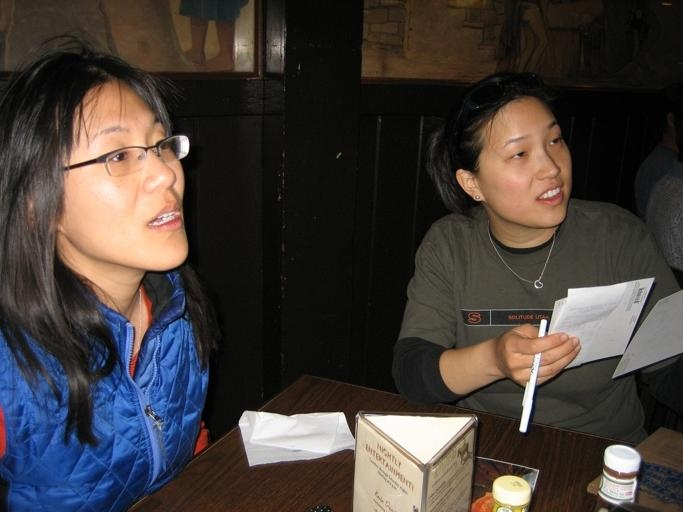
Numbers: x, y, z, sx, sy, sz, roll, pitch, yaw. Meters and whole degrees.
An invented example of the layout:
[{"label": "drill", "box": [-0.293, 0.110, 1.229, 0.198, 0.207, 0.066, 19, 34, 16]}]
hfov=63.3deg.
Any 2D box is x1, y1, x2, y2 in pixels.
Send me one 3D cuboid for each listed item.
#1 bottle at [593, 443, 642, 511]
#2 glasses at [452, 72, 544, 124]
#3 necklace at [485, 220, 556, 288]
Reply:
[{"label": "bottle", "box": [0.594, 0.461, 1.169, 0.086, 0.116, 0.060, -16, 20, -42]}, {"label": "glasses", "box": [0.528, -0.508, 1.852, 0.203, 0.058, 0.200, -22, -4, -24]}, {"label": "necklace", "box": [0.629, 0.002, 1.929, 0.172, 0.208, 0.112, -18, -8, 5]}]
